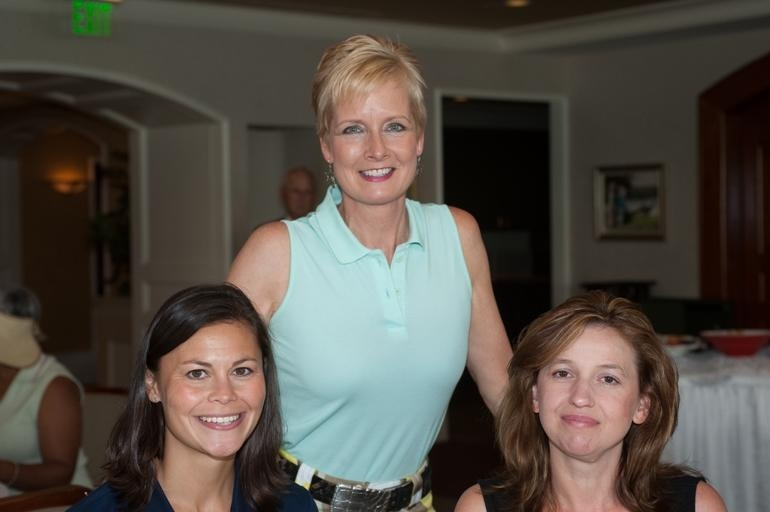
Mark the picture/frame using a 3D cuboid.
[{"bbox_3d":[1.159,-0.257,3.426,0.377,0.406,0.039,0,-5,-11],"label":"picture/frame"}]
